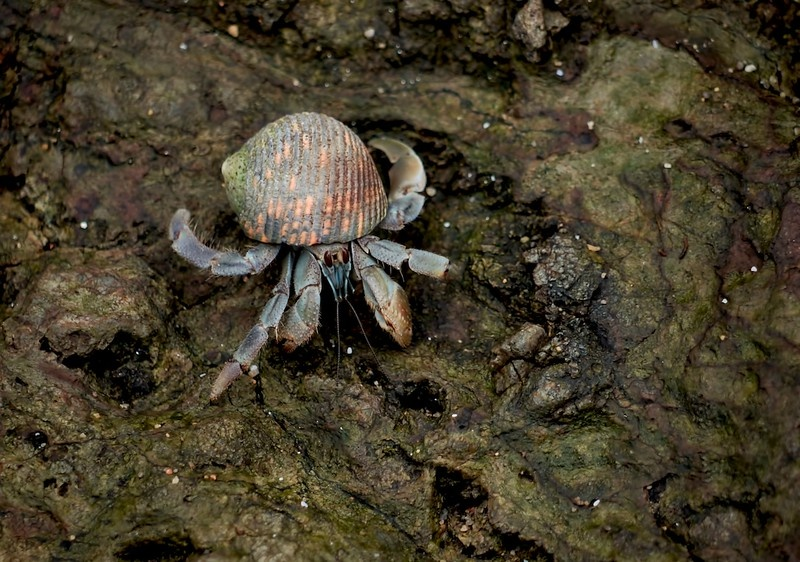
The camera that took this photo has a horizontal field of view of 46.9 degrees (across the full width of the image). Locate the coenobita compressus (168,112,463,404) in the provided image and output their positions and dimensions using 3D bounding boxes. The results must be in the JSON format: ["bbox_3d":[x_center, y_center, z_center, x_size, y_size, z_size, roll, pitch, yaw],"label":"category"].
[{"bbox_3d":[-0.616,-0.342,6.889,1.976,1.175,1.410,-19,63,-14],"label":"coenobita compressus"}]
